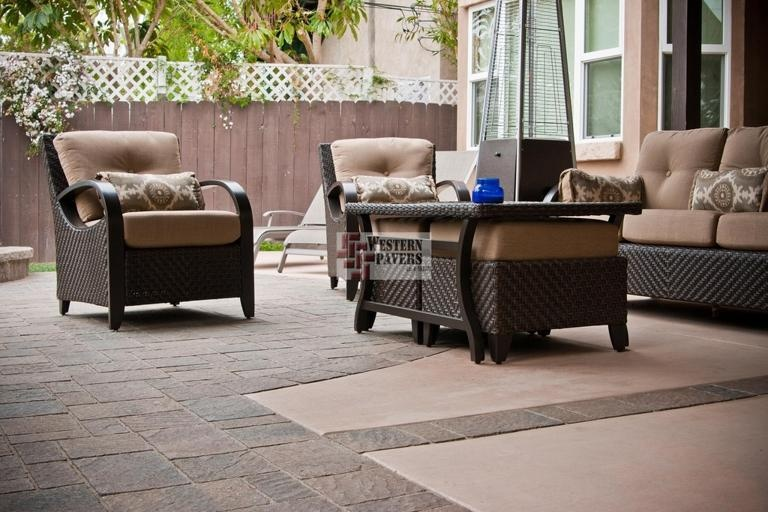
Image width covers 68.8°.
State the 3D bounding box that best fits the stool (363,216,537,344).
[{"bbox_3d":[0.393,0.109,2.974,0.357,0.595,0.874,-5,8,-41],"label":"stool"}]

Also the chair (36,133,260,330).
[{"bbox_3d":[-1.738,-0.281,4.062,1.466,1.191,1.085,8,11,42],"label":"chair"}]

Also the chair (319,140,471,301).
[{"bbox_3d":[0.068,-0.395,4.689,1.310,1.260,1.234,0,-1,-34],"label":"chair"}]

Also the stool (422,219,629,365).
[{"bbox_3d":[0.714,0.116,2.954,0.766,0.628,1.047,1,-1,-24],"label":"stool"}]

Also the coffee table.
[{"bbox_3d":[0.547,0.079,3.121,0.927,0.586,1.141,-3,6,-31],"label":"coffee table"}]

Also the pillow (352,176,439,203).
[{"bbox_3d":[0.133,-0.534,4.442,0.753,0.228,0.346,-3,6,-31],"label":"pillow"}]
